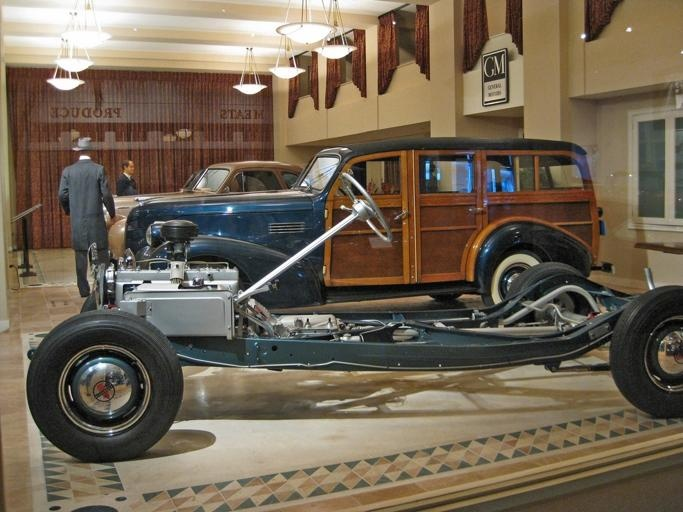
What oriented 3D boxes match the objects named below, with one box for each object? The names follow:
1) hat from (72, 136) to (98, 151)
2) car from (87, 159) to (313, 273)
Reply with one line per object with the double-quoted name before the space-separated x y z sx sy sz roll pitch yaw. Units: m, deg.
"hat" -1.855 -0.800 4.030 0.132 0.047 0.129 -2 5 -11
"car" -1.458 -0.523 6.000 2.299 0.838 1.082 -1 6 -22
